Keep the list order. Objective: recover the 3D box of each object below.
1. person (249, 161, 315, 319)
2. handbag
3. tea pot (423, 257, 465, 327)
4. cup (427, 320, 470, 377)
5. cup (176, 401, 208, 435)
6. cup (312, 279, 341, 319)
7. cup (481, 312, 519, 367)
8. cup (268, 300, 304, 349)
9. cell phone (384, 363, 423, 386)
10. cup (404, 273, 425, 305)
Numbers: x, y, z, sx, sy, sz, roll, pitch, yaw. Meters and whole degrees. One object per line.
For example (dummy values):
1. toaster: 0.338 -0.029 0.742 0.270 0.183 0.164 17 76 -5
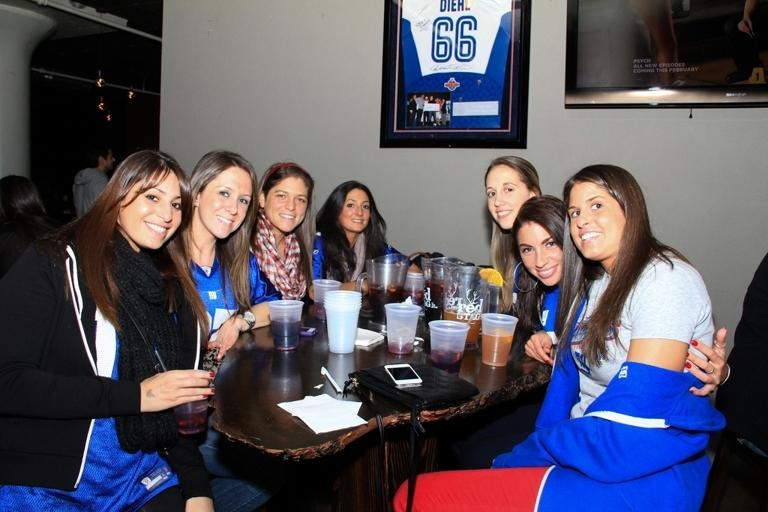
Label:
1. person: -0.628 -0.124 2.888 0.183 0.715 0.430 -16 -24 40
2. handbag: 0.108 0.456 1.692 0.405 0.465 0.489 4 4 43
3. tea pot: 0.284 0.176 2.327 0.221 0.309 0.196 1 -2 -11
4. cup: 0.242 0.343 1.870 0.169 0.175 0.168 3 -1 0
5. cup: -0.674 0.549 1.685 0.085 0.091 0.084 -10 -13 -2
6. cup: -0.299 0.196 2.369 0.165 0.180 0.170 2 4 0
7. cup: 0.442 0.319 1.921 0.174 0.201 0.177 1 0 0
8. cup: -0.398 0.268 2.009 0.174 0.197 0.168 0 -2 0
9. cell phone: 0.068 0.417 1.744 0.138 0.022 0.199 0 12 -14
10. cup: 0.137 0.169 2.529 0.142 0.168 0.147 5 2 0
